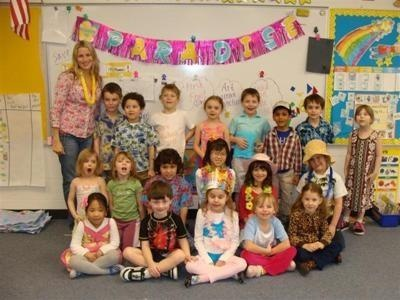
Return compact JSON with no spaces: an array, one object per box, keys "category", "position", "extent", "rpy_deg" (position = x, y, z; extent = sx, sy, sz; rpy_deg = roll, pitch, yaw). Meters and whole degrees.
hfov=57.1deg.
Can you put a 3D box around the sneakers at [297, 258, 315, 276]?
[{"category":"sneakers","position":[0.864,0.947,2.941],"extent":[0.142,0.088,0.107],"rpy_deg":[-2,12,-5]}]

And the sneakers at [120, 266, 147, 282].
[{"category":"sneakers","position":[-0.497,0.955,2.873],"extent":[0.240,0.087,0.102],"rpy_deg":[-2,3,-20]}]

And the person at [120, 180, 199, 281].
[{"category":"person","position":[-0.362,0.643,2.900],"extent":[0.555,0.716,0.347],"rpy_deg":[-4,12,-14]}]

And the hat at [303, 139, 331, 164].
[{"category":"hat","position":[1.082,0.008,3.393],"extent":[0.179,0.144,0.244],"rpy_deg":[-2,0,9]}]

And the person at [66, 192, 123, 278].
[{"category":"person","position":[-0.790,0.702,3.182],"extent":[0.589,0.780,0.584],"rpy_deg":[1,-1,-8]}]

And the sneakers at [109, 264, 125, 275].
[{"category":"sneakers","position":[-0.655,0.956,2.932],"extent":[0.119,0.052,0.052],"rpy_deg":[-8,3,-1]}]

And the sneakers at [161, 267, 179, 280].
[{"category":"sneakers","position":[-0.213,0.969,2.897],"extent":[0.168,0.078,0.063],"rpy_deg":[3,-3,32]}]

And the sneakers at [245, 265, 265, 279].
[{"category":"sneakers","position":[0.432,0.951,2.873],"extent":[0.136,0.078,0.056],"rpy_deg":[0,-22,-35]}]
